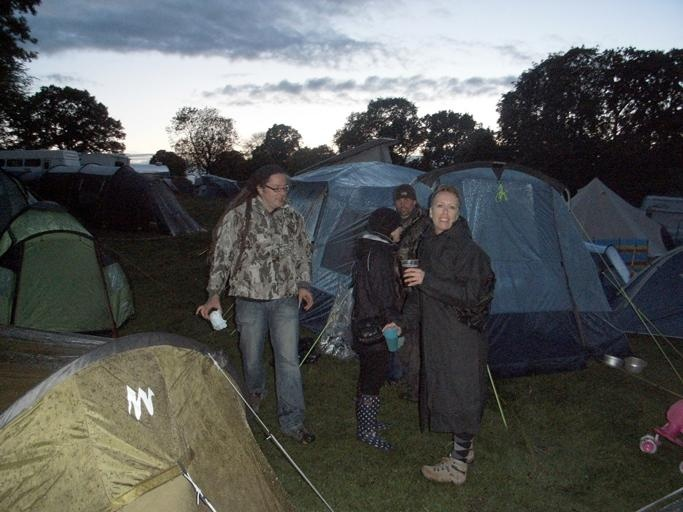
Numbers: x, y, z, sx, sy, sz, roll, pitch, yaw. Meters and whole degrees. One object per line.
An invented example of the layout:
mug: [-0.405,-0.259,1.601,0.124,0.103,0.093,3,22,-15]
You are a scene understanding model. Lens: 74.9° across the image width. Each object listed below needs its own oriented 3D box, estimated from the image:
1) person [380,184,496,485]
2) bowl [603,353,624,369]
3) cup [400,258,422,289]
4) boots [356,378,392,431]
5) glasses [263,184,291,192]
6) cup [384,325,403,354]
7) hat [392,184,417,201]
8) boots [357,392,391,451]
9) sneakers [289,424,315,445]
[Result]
person: [0.805,0.681,3.541,0.589,2.413,0.775,-10,17,-34]
bowl: [3.308,1.269,5.416,0.185,0.108,0.178,18,-11,4]
cup: [0.563,0.127,3.467,0.190,0.245,0.196,-2,7,0]
boots: [0.312,1.443,4.109,0.339,0.488,0.260,0,-2,23]
glasses: [-0.574,-0.591,3.883,0.192,0.056,0.062,-4,14,-19]
cup: [0.424,0.677,3.707,0.195,0.205,0.201,2,4,0]
hat: [0.749,-0.745,5.265,0.207,0.132,0.204,-2,7,10]
boots: [0.327,1.485,4.136,0.359,0.441,0.288,5,-6,13]
sneakers: [-0.375,1.644,4.164,0.271,0.155,0.102,34,-9,-19]
